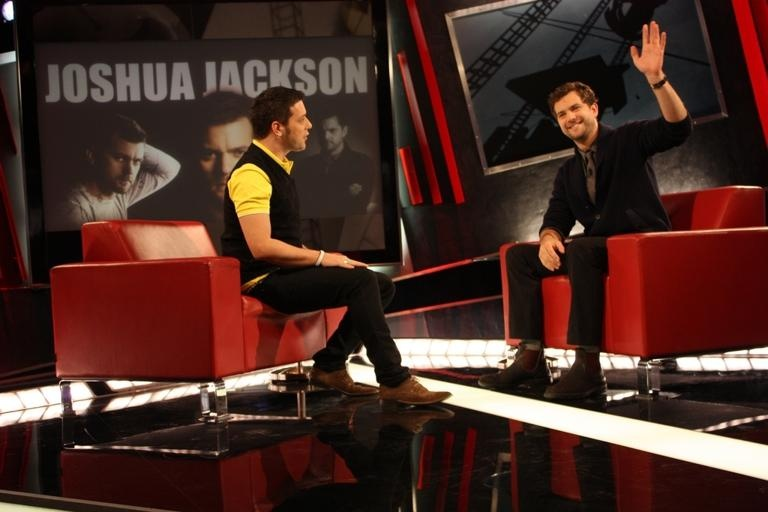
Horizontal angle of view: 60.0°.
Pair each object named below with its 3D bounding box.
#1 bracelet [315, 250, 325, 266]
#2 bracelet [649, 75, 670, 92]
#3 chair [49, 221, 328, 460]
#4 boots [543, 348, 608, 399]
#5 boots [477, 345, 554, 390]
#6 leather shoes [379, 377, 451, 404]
[{"bbox_3d":[-0.336,0.010,3.500,0.061,0.062,0.026,-4,-29,18],"label":"bracelet"},{"bbox_3d":[1.438,-0.903,3.420,0.100,0.037,0.100,-34,-7,-27],"label":"bracelet"},{"bbox_3d":[-0.978,0.326,3.818,1.083,1.305,1.421,-2,-1,22],"label":"chair"},{"bbox_3d":[0.999,0.618,3.473,0.361,0.250,0.150,-4,-5,-17],"label":"boots"},{"bbox_3d":[0.699,0.636,3.775,0.441,0.306,0.186,0,-2,-5],"label":"boots"},{"bbox_3d":[0.145,0.700,3.460,0.437,0.180,0.140,-1,-10,3],"label":"leather shoes"}]
